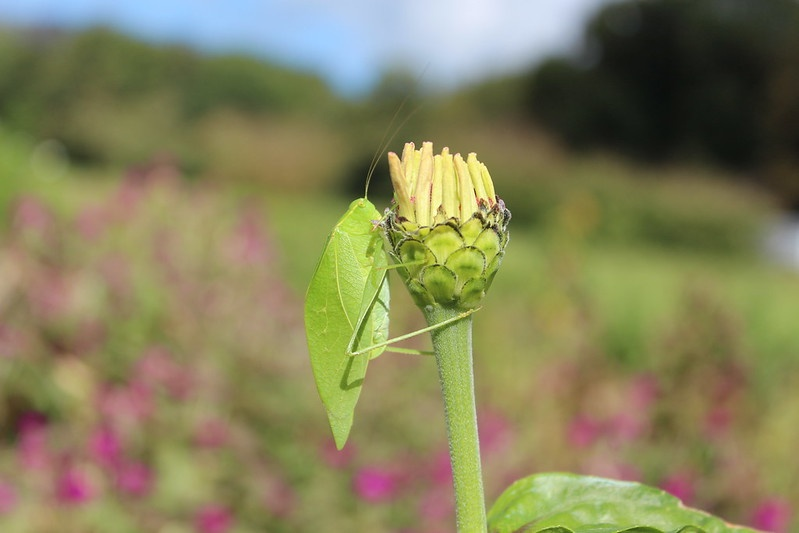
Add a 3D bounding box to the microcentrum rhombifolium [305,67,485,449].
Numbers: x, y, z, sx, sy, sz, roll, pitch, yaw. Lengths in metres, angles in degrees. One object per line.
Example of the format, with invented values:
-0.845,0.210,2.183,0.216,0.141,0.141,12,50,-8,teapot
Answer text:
-0.058,-0.014,3.051,0.420,1.047,0.391,6,-16,-25,microcentrum rhombifolium
